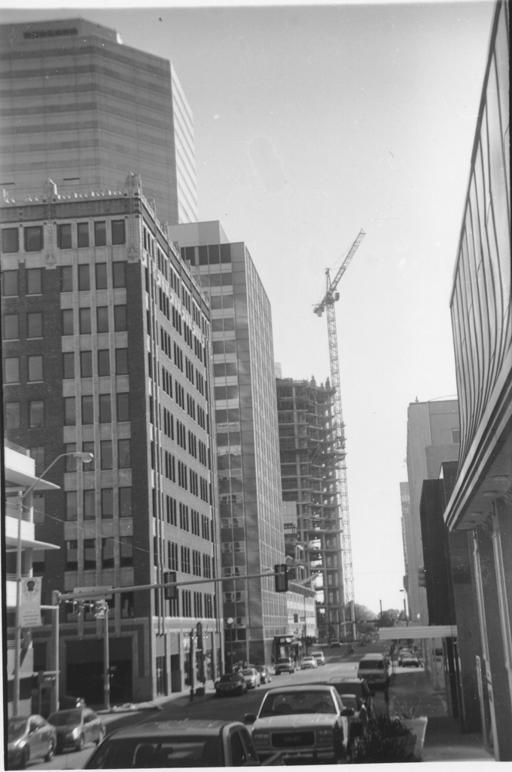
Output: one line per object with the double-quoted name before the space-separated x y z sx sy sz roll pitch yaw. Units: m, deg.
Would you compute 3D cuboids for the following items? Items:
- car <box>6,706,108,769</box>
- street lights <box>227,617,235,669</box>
"car" -3.212 5.468 17.071 0.957 0.837 2.445 -6 -24 4
"street lights" -0.526 5.269 22.181 0.163 1.099 0.206 -12 -27 24
